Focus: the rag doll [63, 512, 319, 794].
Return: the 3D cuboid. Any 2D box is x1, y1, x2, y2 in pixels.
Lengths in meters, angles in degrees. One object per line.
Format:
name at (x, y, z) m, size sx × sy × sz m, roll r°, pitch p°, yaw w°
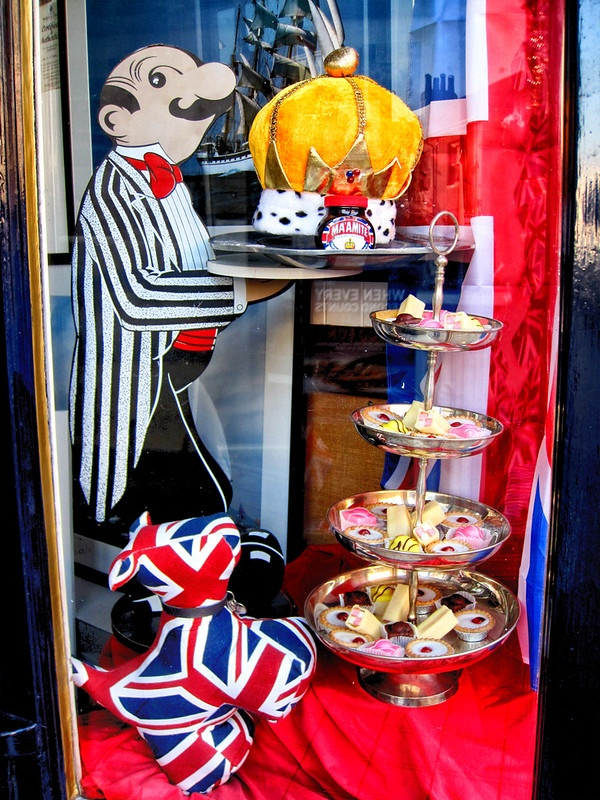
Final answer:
rag doll at (-0.136, 0.362, 1.435) m, size 0.518 × 0.451 × 0.362 m, roll -3°, pitch 11°, yaw -14°
